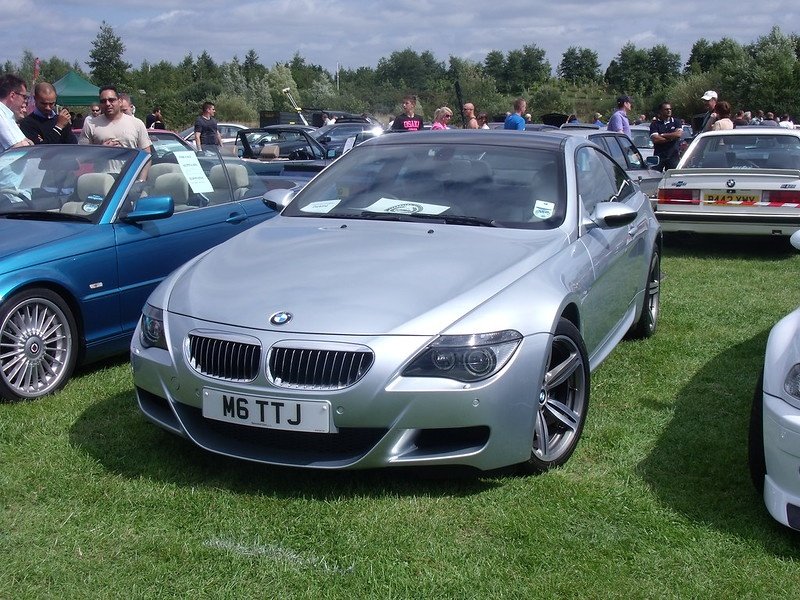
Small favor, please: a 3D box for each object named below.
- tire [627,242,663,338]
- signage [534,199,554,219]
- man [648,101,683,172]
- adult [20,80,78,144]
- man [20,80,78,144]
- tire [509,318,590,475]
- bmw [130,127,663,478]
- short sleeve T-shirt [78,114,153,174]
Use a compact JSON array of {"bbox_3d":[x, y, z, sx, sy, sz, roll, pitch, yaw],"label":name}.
[{"bbox_3d":[2.124,-0.084,5.764,0.255,0.852,0.818,3,0,28],"label":"tire"},{"bbox_3d":[0.898,-0.566,4.032,0.118,0.018,0.131,8,50,13],"label":"signage"},{"bbox_3d":[5.097,-2.899,12.306,0.538,1.657,0.472,9,31,40],"label":"man"},{"bbox_3d":[-4.269,-2.223,7.860,0.561,0.809,0.458,-11,29,-39],"label":"adult"},{"bbox_3d":[-4.282,-2.227,7.865,0.433,0.806,0.570,25,28,34],"label":"man"},{"bbox_3d":[0.772,0.510,3.400,0.212,0.689,0.576,0,24,43],"label":"tire"},{"bbox_3d":[0.145,-0.107,3.964,1.975,1.774,3.067,13,21,43],"label":"bmw"},{"bbox_3d":[-3.012,-1.665,6.903,0.727,0.630,0.267,0,20,-15],"label":"short sleeve T-shirt"}]
